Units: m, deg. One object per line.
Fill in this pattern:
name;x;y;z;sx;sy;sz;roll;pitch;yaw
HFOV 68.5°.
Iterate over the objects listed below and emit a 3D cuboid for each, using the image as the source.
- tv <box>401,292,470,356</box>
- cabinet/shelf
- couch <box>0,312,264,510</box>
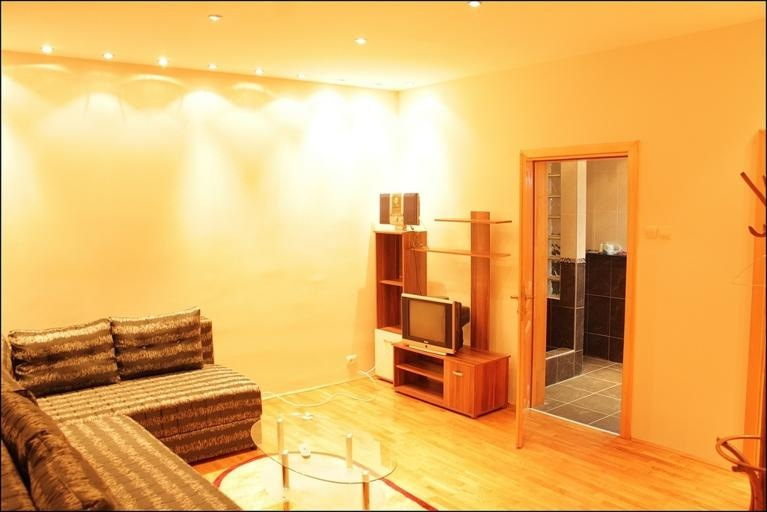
tv;0.577;0.542;5.727;0.542;0.546;0.757;-9;10;-44
cabinet/shelf;0.648;0.615;5.728;0.705;2.170;1.918;-3;5;-40
couch;-1.825;1.139;4.211;1.477;0.732;1.580;-4;12;-37
